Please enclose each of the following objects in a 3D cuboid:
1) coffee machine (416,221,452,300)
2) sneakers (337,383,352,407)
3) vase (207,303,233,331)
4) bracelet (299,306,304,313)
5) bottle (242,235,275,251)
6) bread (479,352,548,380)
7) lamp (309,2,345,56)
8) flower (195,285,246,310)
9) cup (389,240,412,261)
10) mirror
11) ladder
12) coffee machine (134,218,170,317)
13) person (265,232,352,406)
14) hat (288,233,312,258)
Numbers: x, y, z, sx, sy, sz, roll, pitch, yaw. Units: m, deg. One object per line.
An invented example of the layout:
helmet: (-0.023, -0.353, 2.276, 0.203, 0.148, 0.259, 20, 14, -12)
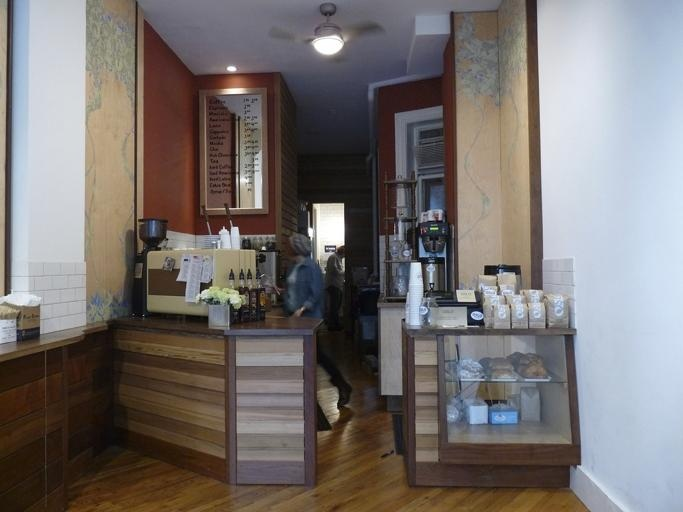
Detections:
coffee machine: (0.966, 0.019, 5.617, 0.358, 0.807, 0.975, 0, 11, 9)
sneakers: (0.024, 1.359, 5.330, 0.090, 0.291, 0.111, 9, 19, 31)
vase: (-0.902, 0.441, 3.991, 0.162, 0.173, 0.165, 1, 2, 13)
bracelet: (-0.378, 0.499, 5.058, 0.031, 0.049, 0.015, 10, -20, 37)
bottle: (-1.002, -0.127, 6.537, 0.252, 0.159, 0.234, 1, 0, 0)
bread: (1.248, 0.795, 3.877, 0.255, 0.094, 0.302, -1, 1, 4)
lamp: (-0.143, -2.254, 5.374, 0.341, 0.473, 0.336, 0, 0, -2)
flower: (-0.909, 0.281, 4.071, 0.236, 0.147, 0.189, 6, 3, 35)
cup: (0.631, -0.058, 5.810, 0.191, 0.381, 0.210, -1, -7, 0)
mirror: (-1.306, -1.267, 6.558, 0.805, 1.475, 0.339, -2, 10, -1)
ladder: (0.620, -0.168, 5.840, 0.472, 1.387, 0.479, 0, -3, 26)
coffee machine: (-1.698, 0.079, 4.866, 0.250, 0.879, 0.323, -3, 4, 43)
person: (-0.229, 0.663, 5.268, 0.659, 1.760, 0.999, -3, 11, -7)
hat: (-0.404, -0.100, 5.196, 0.194, 0.229, 0.241, -2, 11, -3)
